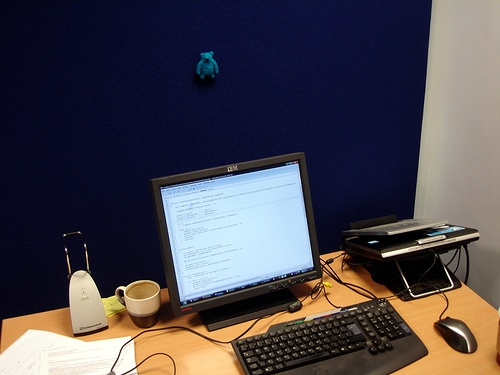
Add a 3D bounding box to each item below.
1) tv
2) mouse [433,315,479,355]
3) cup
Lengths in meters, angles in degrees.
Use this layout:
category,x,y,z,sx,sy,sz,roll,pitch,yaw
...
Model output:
category,x,y,z,sx,sy,sz,roll,pitch,yaw
tv,-0.055,0.205,1.443,0.510,0.193,0.499,-10,-68,-22
mouse,0.660,0.471,1.303,0.070,0.111,0.042,-7,-58,-15
cup,-0.368,0.397,1.420,0.118,0.169,0.129,-7,-79,-39
